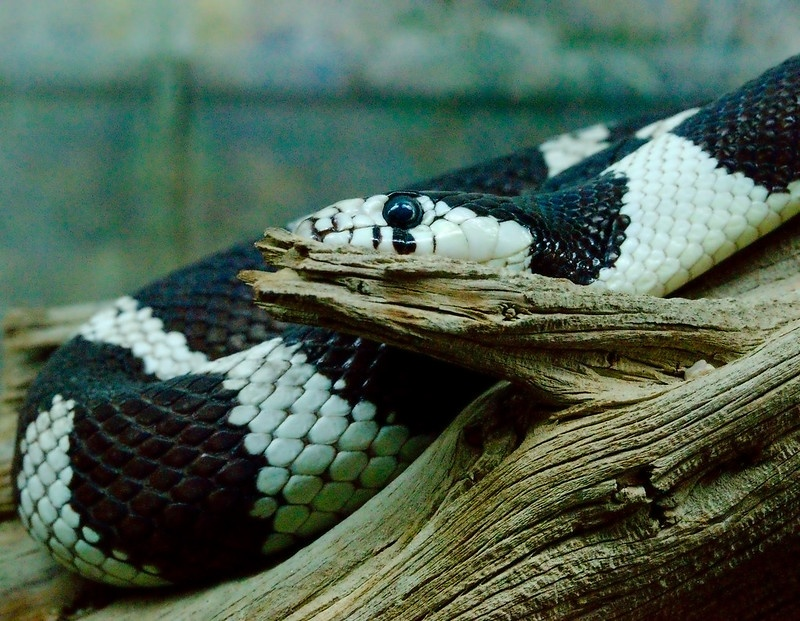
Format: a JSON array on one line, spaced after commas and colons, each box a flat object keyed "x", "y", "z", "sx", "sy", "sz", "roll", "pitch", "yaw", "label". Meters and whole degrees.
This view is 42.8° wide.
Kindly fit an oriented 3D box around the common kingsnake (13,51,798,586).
[{"x": 0.043, "y": 0.067, "z": 2.917, "sx": 2.036, "sy": 0.499, "sz": 1.455, "roll": -22, "pitch": 13, "yaw": -25, "label": "common kingsnake"}]
